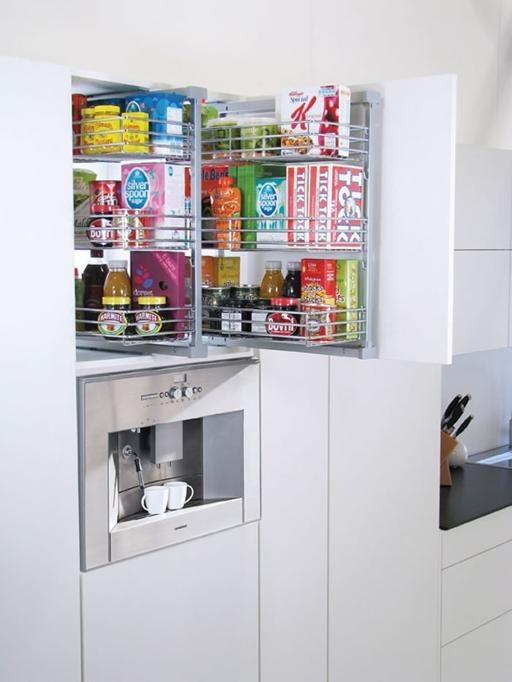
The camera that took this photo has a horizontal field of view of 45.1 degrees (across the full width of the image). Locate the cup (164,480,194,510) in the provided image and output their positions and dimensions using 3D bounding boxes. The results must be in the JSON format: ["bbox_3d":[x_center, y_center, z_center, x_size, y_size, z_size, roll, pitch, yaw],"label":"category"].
[{"bbox_3d":[-0.164,0.340,1.366,0.042,0.048,0.066,-3,-6,22],"label":"cup"}]

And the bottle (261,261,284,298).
[{"bbox_3d":[0.030,-0.118,1.170,0.044,0.066,0.034,-3,8,3],"label":"bottle"}]

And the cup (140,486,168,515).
[{"bbox_3d":[-0.207,0.331,1.279,0.041,0.046,0.064,-2,-5,20],"label":"cup"}]

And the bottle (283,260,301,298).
[{"bbox_3d":[0.061,-0.111,1.117,0.047,0.063,0.024,4,11,43],"label":"bottle"}]

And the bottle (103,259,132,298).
[{"bbox_3d":[-0.250,-0.110,1.103,0.050,0.069,0.054,-3,8,0],"label":"bottle"}]

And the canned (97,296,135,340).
[{"bbox_3d":[-0.244,-0.041,1.069,0.056,0.070,0.140,-5,8,-11],"label":"canned"}]
